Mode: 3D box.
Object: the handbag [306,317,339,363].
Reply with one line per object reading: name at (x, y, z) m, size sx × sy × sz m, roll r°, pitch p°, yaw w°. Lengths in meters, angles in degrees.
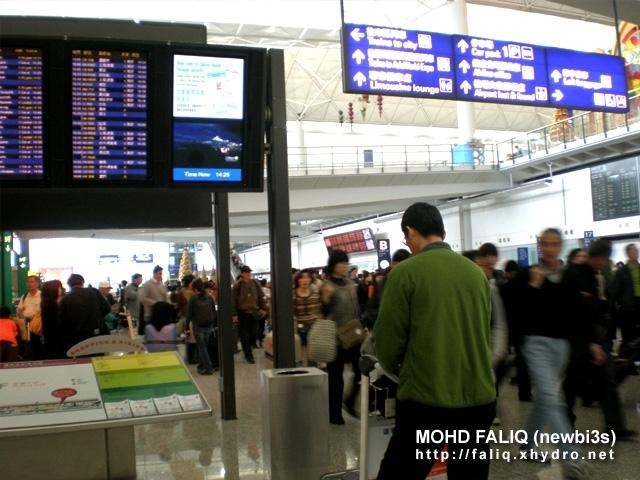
handbag at (0.036, 1.217, 6.664) m, size 0.358 × 0.530 × 0.310 m, roll -2°, pitch 0°, yaw 2°
